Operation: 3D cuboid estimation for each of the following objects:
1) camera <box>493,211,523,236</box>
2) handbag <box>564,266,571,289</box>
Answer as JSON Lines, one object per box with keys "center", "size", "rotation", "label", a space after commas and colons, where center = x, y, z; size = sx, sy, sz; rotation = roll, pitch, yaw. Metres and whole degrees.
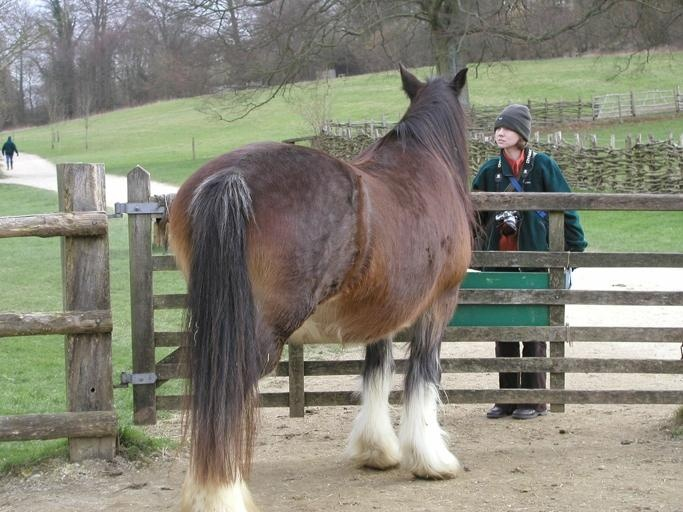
{"center": [4.118, -0.830, 33.062], "size": [0.490, 0.336, 0.712], "rotation": [14, -17, 6], "label": "camera"}
{"center": [5.666, 0.559, 33.079], "size": [0.139, 0.443, 0.323], "rotation": [-3, 1, 24], "label": "handbag"}
